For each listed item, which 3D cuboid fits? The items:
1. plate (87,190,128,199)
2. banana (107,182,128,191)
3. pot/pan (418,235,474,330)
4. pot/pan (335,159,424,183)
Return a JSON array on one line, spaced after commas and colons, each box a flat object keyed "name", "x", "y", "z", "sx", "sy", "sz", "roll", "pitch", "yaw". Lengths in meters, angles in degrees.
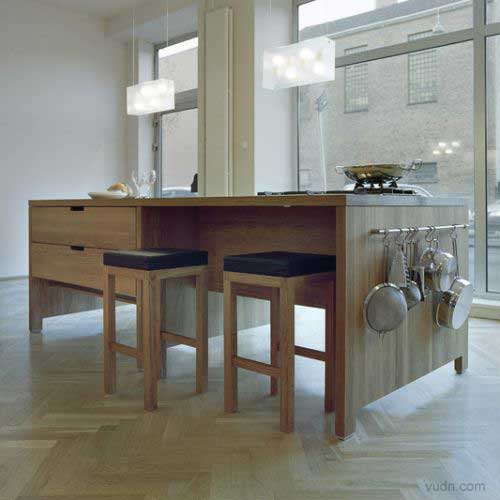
[{"name": "plate", "x": -0.819, "y": -0.328, "z": 2.715, "sx": 0.140, "sy": 0.055, "sz": 0.282, "roll": 3, "pitch": 3, "yaw": 42}, {"name": "banana", "x": -0.838, "y": -0.401, "z": 2.924, "sx": 0.133, "sy": 0.035, "sz": 0.142, "roll": -4, "pitch": 6, "yaw": -30}, {"name": "pot/pan", "x": 0.806, "y": 0.152, "z": 1.893, "sx": 0.147, "sy": 0.479, "sz": 0.250, "roll": -4, "pitch": -6, "yaw": 41}, {"name": "pot/pan", "x": 0.509, "y": -0.305, "z": 1.851, "sx": 0.265, "sy": 0.070, "sz": 0.142, "roll": 1, "pitch": 2, "yaw": 11}]
